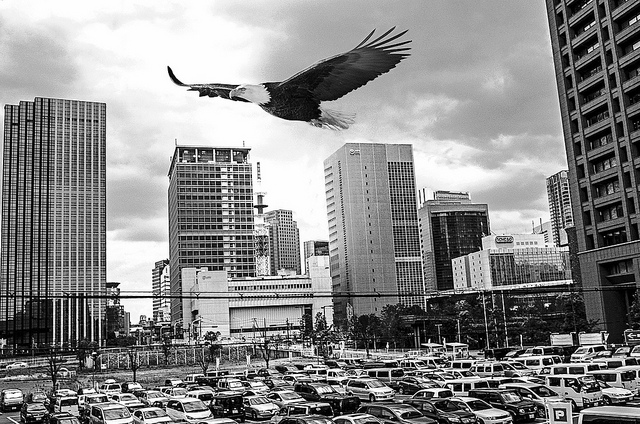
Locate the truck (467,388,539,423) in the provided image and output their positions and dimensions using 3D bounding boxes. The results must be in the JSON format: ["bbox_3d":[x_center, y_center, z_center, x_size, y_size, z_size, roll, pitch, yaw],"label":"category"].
[{"bbox_3d":[27.760,28.842,133.953,7.824,3.452,4.515,-12,-12,42],"label":"truck"}]

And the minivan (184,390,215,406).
[{"bbox_3d":[-18.595,29.135,140.372,2.084,1.525,3.317,10,-25,-34],"label":"minivan"}]

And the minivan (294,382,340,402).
[{"bbox_3d":[-0.805,28.694,141.671,5.256,2.299,2.932,-10,-9,30],"label":"minivan"}]

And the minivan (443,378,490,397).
[{"bbox_3d":[22.853,27.478,138.521,5.069,2.549,3.185,-3,-12,30],"label":"minivan"}]

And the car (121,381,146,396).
[{"bbox_3d":[-31.879,30.734,153.421,2.560,1.716,5.567,3,-2,-33],"label":"car"}]

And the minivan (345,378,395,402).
[{"bbox_3d":[7.909,28.238,141.571,7.507,3.479,2.135,-7,-13,23],"label":"minivan"}]

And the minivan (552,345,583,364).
[{"bbox_3d":[43.794,25.086,158.351,4.664,2.225,2.634,8,-16,-33],"label":"minivan"}]

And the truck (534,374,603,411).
[{"bbox_3d":[38.337,27.687,138.023,5.925,4.405,9.479,3,-6,-37],"label":"truck"}]

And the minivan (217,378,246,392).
[{"bbox_3d":[-14.569,28.483,146.400,1.991,1.597,3.363,8,-19,-40],"label":"minivan"}]

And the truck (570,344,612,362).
[{"bbox_3d":[46.302,24.163,153.226,5.699,2.164,3.023,8,-16,-29],"label":"truck"}]

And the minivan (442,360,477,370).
[{"bbox_3d":[24.617,26.440,153.971,4.039,1.715,2.204,-1,-17,13],"label":"minivan"}]

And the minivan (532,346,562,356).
[{"bbox_3d":[39.145,24.535,157.094,3.319,1.786,7.303,-9,-13,30],"label":"minivan"}]
